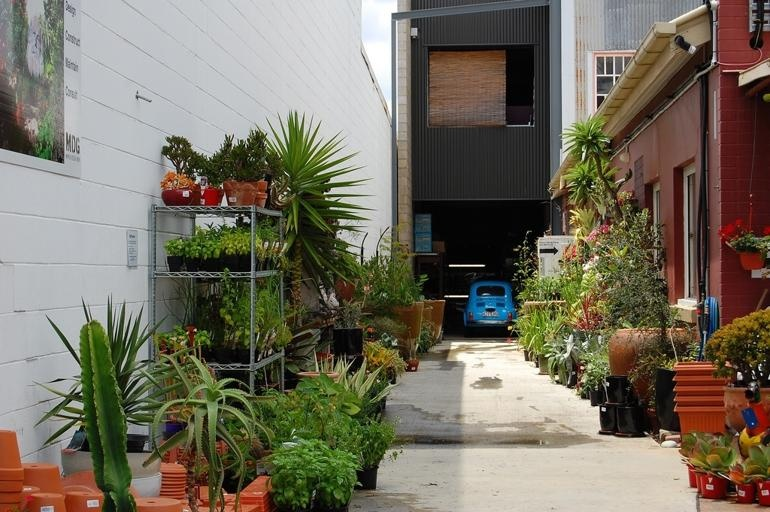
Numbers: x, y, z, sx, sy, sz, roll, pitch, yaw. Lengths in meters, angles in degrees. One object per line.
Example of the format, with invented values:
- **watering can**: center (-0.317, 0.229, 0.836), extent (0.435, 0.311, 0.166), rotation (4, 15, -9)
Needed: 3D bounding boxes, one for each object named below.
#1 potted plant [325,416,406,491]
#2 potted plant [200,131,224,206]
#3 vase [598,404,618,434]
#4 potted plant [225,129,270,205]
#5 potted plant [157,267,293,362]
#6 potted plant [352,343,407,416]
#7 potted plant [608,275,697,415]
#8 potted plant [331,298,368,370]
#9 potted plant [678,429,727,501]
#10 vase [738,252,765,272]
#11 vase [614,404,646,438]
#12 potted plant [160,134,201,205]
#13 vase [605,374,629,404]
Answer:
- **potted plant**: center (-0.173, 1.629, 5.812), extent (0.577, 0.589, 0.537), rotation (1, -17, -8)
- **potted plant**: center (-1.508, -0.687, 6.138), extent (0.173, 0.531, 0.296), rotation (1, -5, -16)
- **vase**: center (2.341, 1.720, 7.289), extent (0.240, 0.282, 0.243), rotation (4, -8, -35)
- **potted plant**: center (-1.213, -0.820, 6.308), extent (0.234, 0.762, 0.434), rotation (-3, -5, 29)
- **potted plant**: center (-1.353, 0.326, 6.277), extent (0.697, 0.842, 1.093), rotation (-6, -1, 31)
- **potted plant**: center (-0.044, 1.486, 8.388), extent (0.576, 0.607, 0.638), rotation (1, 2, 4)
- **potted plant**: center (2.812, 0.880, 7.725), extent (1.068, 1.686, 1.107), rotation (-5, -7, 38)
- **potted plant**: center (-0.448, 1.001, 8.794), extent (0.392, 0.846, 1.057), rotation (-1, -5, -2)
- **potted plant**: center (2.579, 1.667, 5.557), extent (0.392, 0.463, 0.442), rotation (-3, -5, 26)
- **vase**: center (3.592, 0.069, 6.802), extent (0.173, 0.141, 0.187), rotation (-1, -1, 8)
- **vase**: center (2.541, 1.715, 7.207), extent (0.267, 0.308, 0.283), rotation (-2, -5, 5)
- **potted plant**: center (-1.776, -0.740, 6.099), extent (0.340, 0.646, 0.381), rotation (1, -5, -19)
- **vase**: center (2.441, 1.416, 7.318), extent (0.234, 0.272, 0.254), rotation (0, -9, 4)
